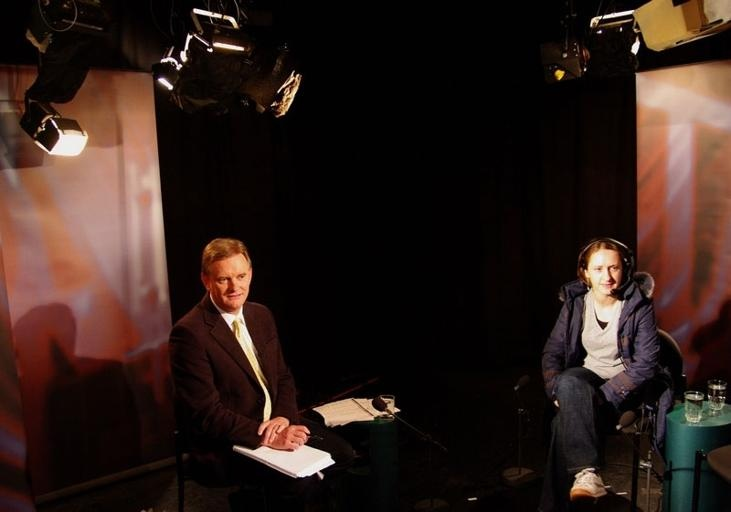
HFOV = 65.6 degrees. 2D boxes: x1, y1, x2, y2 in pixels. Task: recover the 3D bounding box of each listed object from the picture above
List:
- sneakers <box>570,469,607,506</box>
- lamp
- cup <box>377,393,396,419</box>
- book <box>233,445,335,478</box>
[{"bbox_3d":[1.651,1.720,4.258,0.154,0.169,0.372,-12,-25,24],"label":"sneakers"},{"bbox_3d":[-2.384,-0.984,4.333,0.441,0.366,0.197,-4,-1,-24],"label":"lamp"},{"bbox_3d":[0.171,1.133,4.285,0.133,0.153,0.173,-5,-2,11],"label":"cup"},{"bbox_3d":[-0.553,1.351,3.804,0.628,0.182,0.261,-6,-2,33],"label":"book"}]
